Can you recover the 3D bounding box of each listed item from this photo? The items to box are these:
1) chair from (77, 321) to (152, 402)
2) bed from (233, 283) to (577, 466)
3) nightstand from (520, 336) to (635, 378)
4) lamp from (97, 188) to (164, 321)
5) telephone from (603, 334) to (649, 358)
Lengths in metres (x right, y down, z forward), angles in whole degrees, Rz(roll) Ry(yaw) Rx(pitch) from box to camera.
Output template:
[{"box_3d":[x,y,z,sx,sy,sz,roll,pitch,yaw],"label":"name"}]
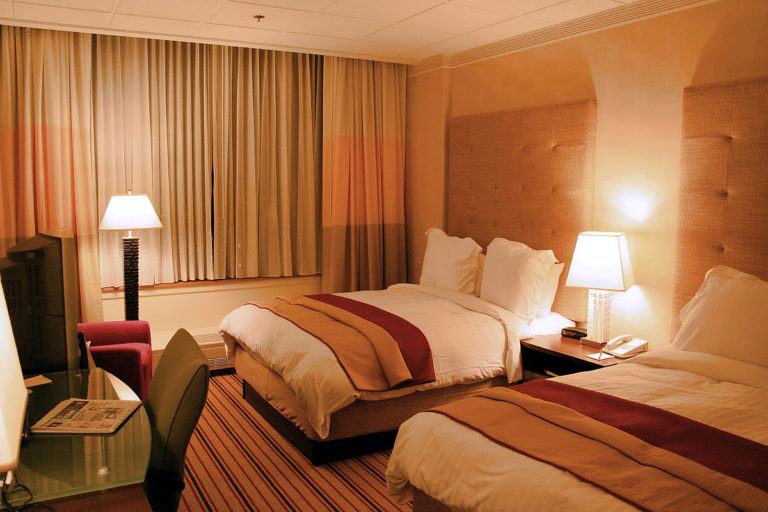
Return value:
[{"box_3d":[-1.845,0.717,3.715,0.569,0.413,0.656,-3,12,-26],"label":"chair"},{"box_3d":[0.008,0.822,4.794,2.397,0.890,2.169,-2,9,-28],"label":"bed"},{"box_3d":[1.368,0.683,4.166,0.304,0.308,0.525,-8,12,-27],"label":"nightstand"},{"box_3d":[-2.359,-0.013,5.124,0.689,1.212,0.495,5,7,42],"label":"lamp"},{"box_3d":[1.776,0.664,4.030,0.255,0.095,0.179,-5,10,-26],"label":"telephone"}]
